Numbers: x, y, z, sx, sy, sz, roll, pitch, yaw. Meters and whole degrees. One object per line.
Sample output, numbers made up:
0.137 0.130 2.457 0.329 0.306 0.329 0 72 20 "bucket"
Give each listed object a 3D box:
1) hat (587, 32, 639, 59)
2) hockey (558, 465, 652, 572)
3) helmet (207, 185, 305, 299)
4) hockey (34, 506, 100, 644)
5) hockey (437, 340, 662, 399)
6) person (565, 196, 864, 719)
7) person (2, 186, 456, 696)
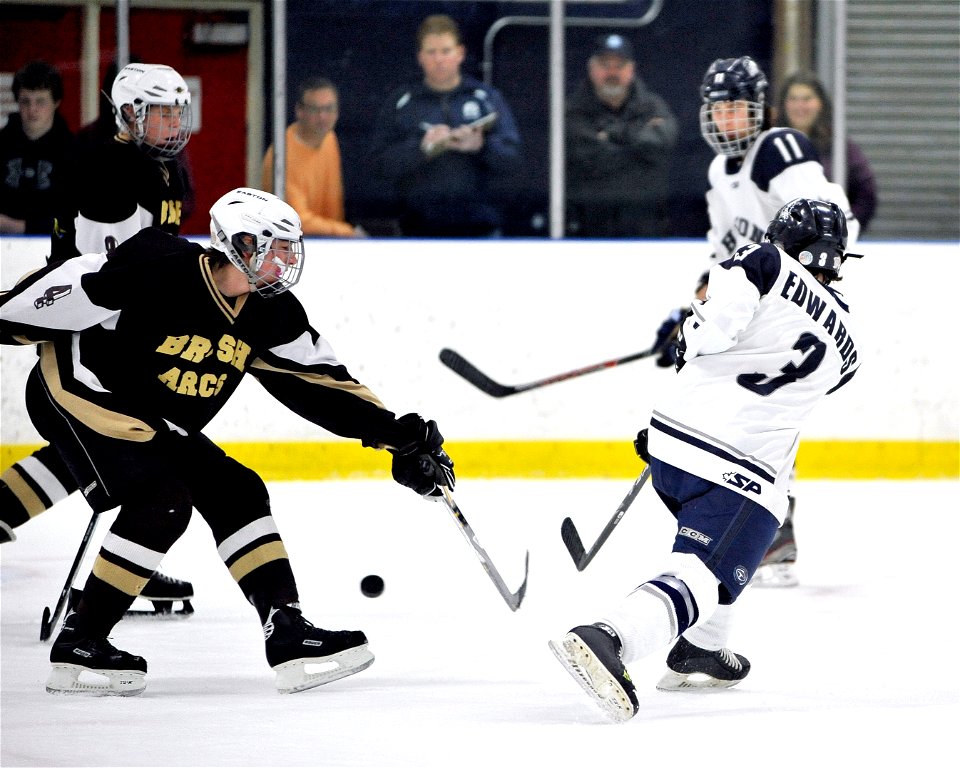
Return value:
0.552 -1.405 5.960 0.184 0.105 0.073 -3 9 -21 "hat"
0.371 0.404 4.170 0.081 0.308 0.307 40 12 -31 "hockey"
-0.521 -0.336 3.413 0.255 0.243 0.195 4 19 -4 "helmet"
-1.175 0.552 4.076 0.033 0.437 0.088 -19 -48 40 "hockey"
0.342 -0.101 6.072 0.152 0.207 1.501 -20 -6 41 "hockey"
0.563 0.159 3.421 0.395 1.180 0.972 6 10 38 "person"
-0.661 0.142 3.496 1.004 1.214 0.394 0 8 -4 "person"
